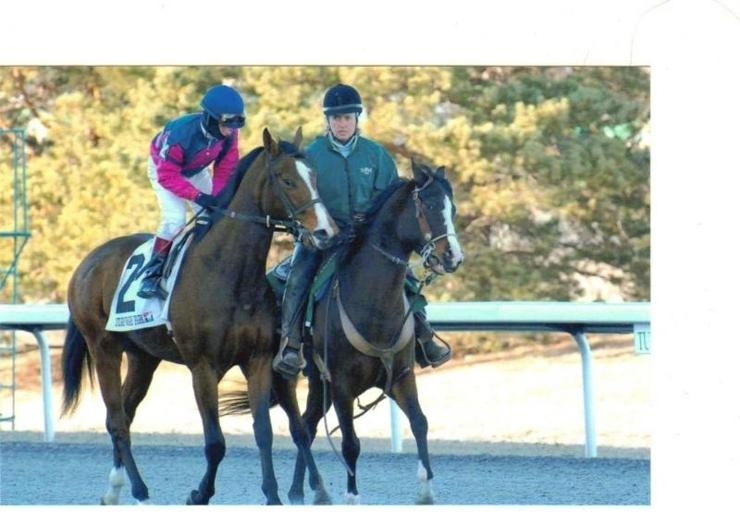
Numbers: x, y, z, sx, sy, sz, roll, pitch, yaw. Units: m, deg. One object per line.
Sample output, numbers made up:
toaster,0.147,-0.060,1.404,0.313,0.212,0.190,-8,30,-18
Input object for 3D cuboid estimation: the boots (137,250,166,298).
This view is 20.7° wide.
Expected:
boots,-2.114,0.167,19.711,0.305,0.398,0.168,3,-7,11

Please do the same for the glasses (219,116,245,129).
glasses,-1.333,-1.309,19.763,0.134,0.068,0.167,-1,-2,-28

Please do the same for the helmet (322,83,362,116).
helmet,-0.273,-1.545,20.043,0.266,0.279,0.350,-1,23,-1
